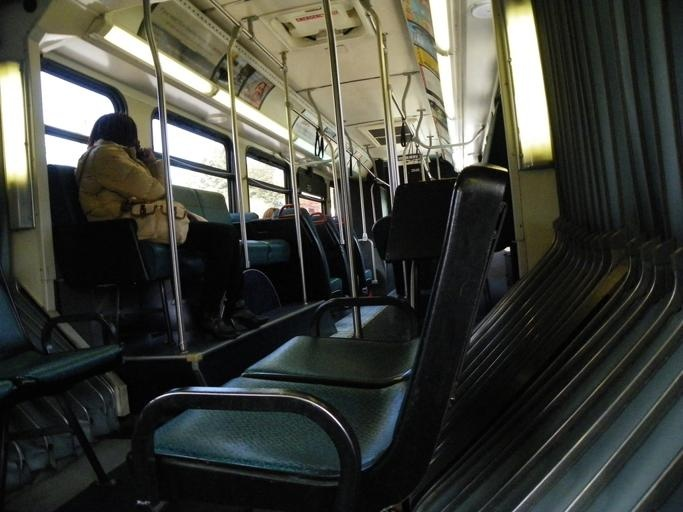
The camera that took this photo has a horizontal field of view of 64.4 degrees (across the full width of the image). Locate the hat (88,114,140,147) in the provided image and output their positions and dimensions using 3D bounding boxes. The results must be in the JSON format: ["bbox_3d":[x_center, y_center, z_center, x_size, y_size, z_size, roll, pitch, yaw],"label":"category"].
[{"bbox_3d":[-1.318,-0.734,3.184,0.247,0.237,0.186,-4,12,-13],"label":"hat"}]

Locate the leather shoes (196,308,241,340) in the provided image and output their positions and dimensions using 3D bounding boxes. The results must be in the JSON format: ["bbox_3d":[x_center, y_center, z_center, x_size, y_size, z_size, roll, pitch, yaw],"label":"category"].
[{"bbox_3d":[-0.682,0.363,3.007,0.221,0.091,0.120,11,14,17],"label":"leather shoes"}]
